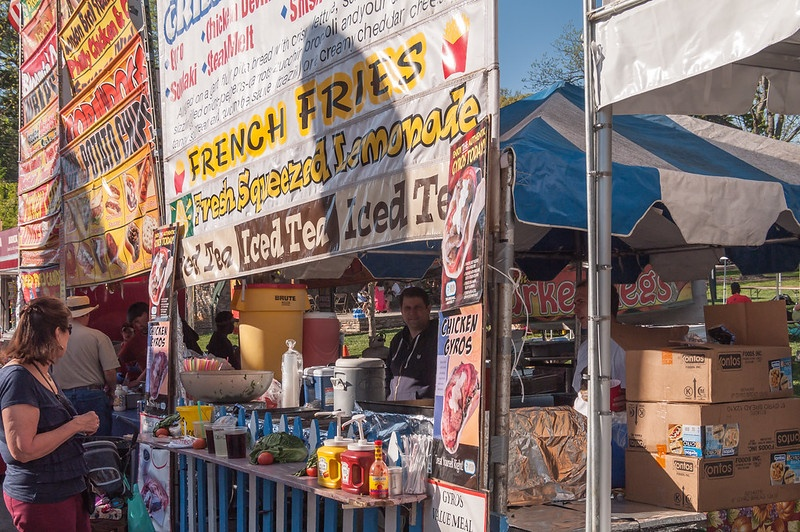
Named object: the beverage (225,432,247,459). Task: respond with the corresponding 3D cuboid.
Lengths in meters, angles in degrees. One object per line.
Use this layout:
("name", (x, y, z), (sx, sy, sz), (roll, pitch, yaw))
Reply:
("beverage", (-1.431, 1.577, 7.422), (0.192, 0.242, 0.123), (3, -11, -18))

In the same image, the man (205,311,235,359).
("man", (-2.556, 1.022, 12.254), (0.370, 0.748, 0.702), (2, 8, -21))

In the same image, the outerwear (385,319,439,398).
("outerwear", (0.141, 1.017, 8.882), (0.388, 0.775, 0.655), (22, -24, -25))

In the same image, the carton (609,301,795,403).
("carton", (2.496, 0.788, 6.870), (0.979, 0.751, 1.062), (4, -8, -24))

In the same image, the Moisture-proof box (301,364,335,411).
("Moisture-proof box", (-0.784, 1.245, 8.318), (0.257, 0.466, 0.344), (-1, 1, 39))

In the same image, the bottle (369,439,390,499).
("bottle", (-0.153, 1.506, 6.232), (0.156, 0.414, 0.129), (0, -10, -1))

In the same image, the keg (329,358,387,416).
("keg", (-0.354, 1.143, 7.676), (0.535, 0.594, 0.541), (2, -7, 1))

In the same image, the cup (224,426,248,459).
("cup", (-1.418, 1.564, 7.380), (0.212, 0.254, 0.226), (-2, -9, 0))

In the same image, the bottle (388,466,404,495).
("bottle", (-0.032, 1.615, 6.259), (0.106, 0.169, 0.178), (0, -2, 0))

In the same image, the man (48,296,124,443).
("man", (-3.872, 1.629, 10.365), (0.865, 2.478, 0.663), (-1, 3, -3))

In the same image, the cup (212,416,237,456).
("cup", (-1.585, 1.531, 7.550), (0.241, 0.287, 0.262), (-1, -8, 0))

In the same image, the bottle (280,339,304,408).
("bottle", (-1.093, 1.172, 8.609), (0.204, 0.531, 0.297), (1, -10, -7))

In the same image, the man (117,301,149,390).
("man", (-3.703, 1.159, 11.771), (0.634, 1.125, 0.353), (-22, -29, 28))

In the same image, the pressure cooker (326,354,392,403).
("pressure cooker", (-0.363, 1.021, 7.585), (0.402, 0.387, 0.364), (-6, -9, 41))

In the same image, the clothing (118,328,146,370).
("clothing", (-3.719, 1.108, 11.675), (0.411, 0.371, 0.163), (-30, -30, -44))

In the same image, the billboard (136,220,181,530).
("billboard", (-2.727, 0.708, 9.715), (0.354, 2.406, 0.794), (3, -10, -18))

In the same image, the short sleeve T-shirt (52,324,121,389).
("short sleeve T-shirt", (-3.856, 1.135, 10.240), (0.877, 0.886, 0.468), (-2, 8, 7))
